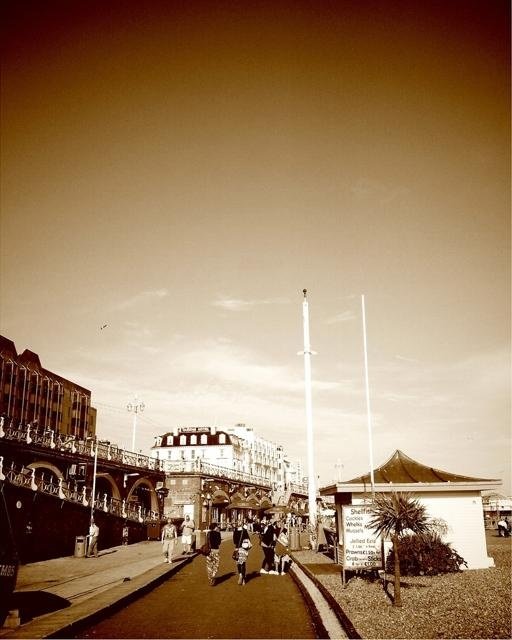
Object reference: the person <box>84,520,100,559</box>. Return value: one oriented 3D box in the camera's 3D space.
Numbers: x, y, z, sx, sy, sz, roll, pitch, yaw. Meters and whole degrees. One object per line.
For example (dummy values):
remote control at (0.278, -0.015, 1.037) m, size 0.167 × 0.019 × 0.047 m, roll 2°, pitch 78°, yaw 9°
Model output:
person at (-7.226, 9.653, 24.143) m, size 0.493 × 1.282 × 1.455 m, roll 5°, pitch -17°, yaw -15°

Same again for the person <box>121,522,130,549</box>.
person at (-7.410, 12.035, 30.978) m, size 0.388 × 1.136 × 1.025 m, roll 4°, pitch -16°, yaw -11°
